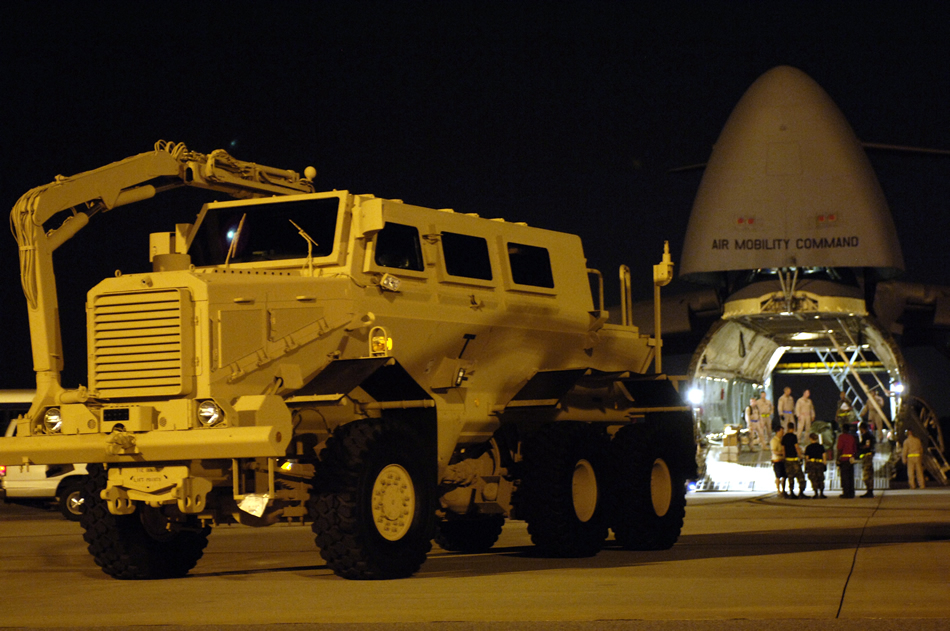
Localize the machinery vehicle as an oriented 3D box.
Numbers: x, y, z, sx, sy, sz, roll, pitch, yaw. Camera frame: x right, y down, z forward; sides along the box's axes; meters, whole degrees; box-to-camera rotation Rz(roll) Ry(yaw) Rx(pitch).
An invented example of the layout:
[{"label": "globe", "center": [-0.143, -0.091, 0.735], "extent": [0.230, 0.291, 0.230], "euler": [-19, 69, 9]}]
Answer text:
[{"label": "machinery vehicle", "center": [-1.095, 0.927, 17.527], "extent": [5.165, 5.160, 10.796], "euler": [-4, -6, 40]}]

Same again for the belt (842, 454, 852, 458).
[{"label": "belt", "center": [10.378, 4.071, 30.435], "extent": [0.316, 0.140, 0.120], "euler": [5, -9, -22]}]
